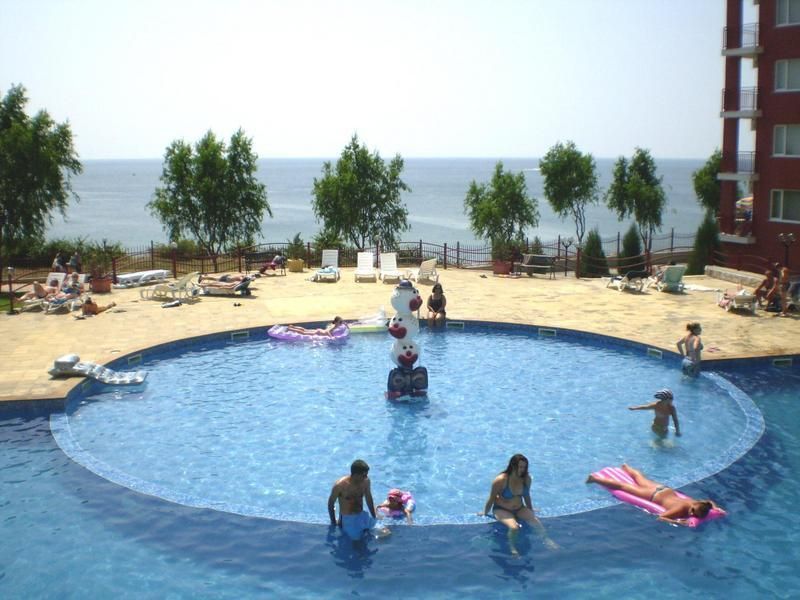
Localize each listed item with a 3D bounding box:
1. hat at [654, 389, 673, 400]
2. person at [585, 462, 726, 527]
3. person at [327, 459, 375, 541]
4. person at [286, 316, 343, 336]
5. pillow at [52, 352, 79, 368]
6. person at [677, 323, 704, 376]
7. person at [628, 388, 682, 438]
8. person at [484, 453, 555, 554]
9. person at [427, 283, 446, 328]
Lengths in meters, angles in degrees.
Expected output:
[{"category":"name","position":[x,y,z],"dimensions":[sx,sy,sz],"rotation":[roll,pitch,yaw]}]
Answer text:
[{"category":"hat","position":[5.457,1.969,12.597],"dimensions":[0.364,0.178,0.247],"rotation":[1,5,8]},{"category":"person","position":[4.133,3.315,10.341],"dimensions":[1.478,0.280,0.827],"rotation":[14,20,41]},{"category":"person","position":[-0.726,3.379,9.577],"dimensions":[0.754,1.554,0.468],"rotation":[-3,0,-21]},{"category":"person","position":[-2.590,0.883,19.033],"dimensions":[1.269,0.426,0.739],"rotation":[5,5,5]},{"category":"pillow","position":[-8.116,1.468,14.714],"dimensions":[0.375,0.128,0.365],"rotation":[2,16,3]},{"category":"person","position":[7.449,1.221,15.636],"dimensions":[0.549,1.374,0.637],"rotation":[0,10,25]},{"category":"person","position":[5.547,2.313,12.866],"dimensions":[0.695,0.927,1.065],"rotation":[-1,9,24]},{"category":"person","position":[1.871,3.133,9.600],"dimensions":[0.984,1.169,1.608],"rotation":[0,0,-17]},{"category":"person","position":[1.181,0.168,20.045],"dimensions":[0.620,1.437,0.643],"rotation":[-2,9,16]}]
